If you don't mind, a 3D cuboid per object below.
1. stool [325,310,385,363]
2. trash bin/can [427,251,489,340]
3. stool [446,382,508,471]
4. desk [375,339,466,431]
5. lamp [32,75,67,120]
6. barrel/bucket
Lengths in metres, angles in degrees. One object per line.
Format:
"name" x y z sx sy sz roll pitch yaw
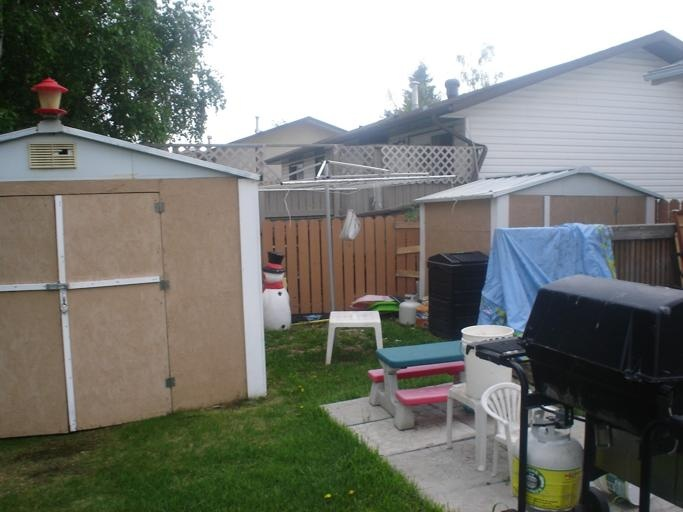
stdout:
"stool" 0.207 1.276 9.896 0.740 0.629 0.799 -1 2 4
"trash bin/can" 2.077 0.684 10.997 0.990 1.422 0.892 -2 12 -3
"stool" 1.614 1.878 7.074 0.750 0.767 0.761 -4 7 -21
"desk" 1.056 1.590 8.032 1.221 0.776 1.146 -4 8 -24
"lamp" -3.690 -2.002 7.916 0.363 0.532 0.918 -7 13 -24
"barrel/bucket" 1.584 1.175 7.107 0.685 0.882 0.777 0 1 18
